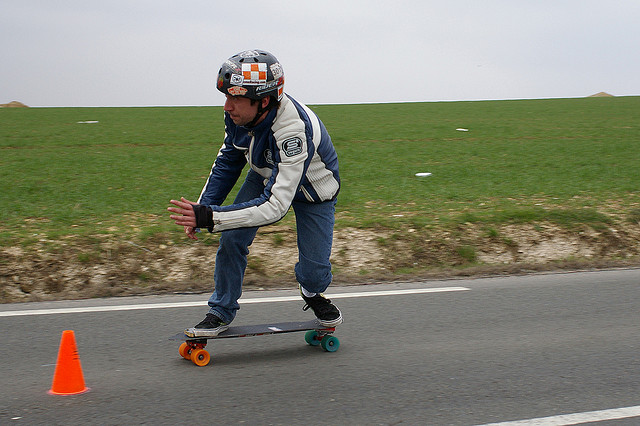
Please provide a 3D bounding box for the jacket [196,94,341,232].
[{"bbox_3d":[-0.433,-0.492,5.023,1.314,1.186,1.031,0,14,-8],"label":"jacket"}]
